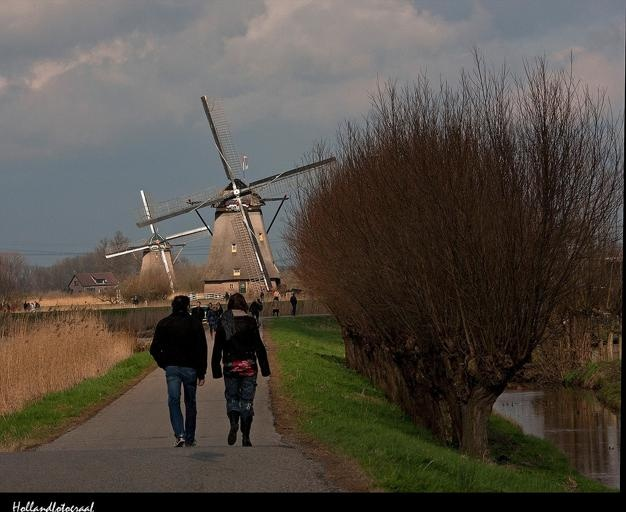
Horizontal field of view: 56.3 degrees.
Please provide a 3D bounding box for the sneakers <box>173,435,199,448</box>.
[{"bbox_3d":[-2.042,2.982,9.348,0.391,0.168,0.163,5,42,14],"label":"sneakers"}]

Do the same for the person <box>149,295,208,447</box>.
[{"bbox_3d":[-2.113,1.858,9.269,0.848,2.452,0.500,1,-3,-13],"label":"person"}]

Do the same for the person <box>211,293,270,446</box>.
[{"bbox_3d":[-1.149,1.795,9.338,0.921,2.380,0.503,0,-3,-9],"label":"person"}]
